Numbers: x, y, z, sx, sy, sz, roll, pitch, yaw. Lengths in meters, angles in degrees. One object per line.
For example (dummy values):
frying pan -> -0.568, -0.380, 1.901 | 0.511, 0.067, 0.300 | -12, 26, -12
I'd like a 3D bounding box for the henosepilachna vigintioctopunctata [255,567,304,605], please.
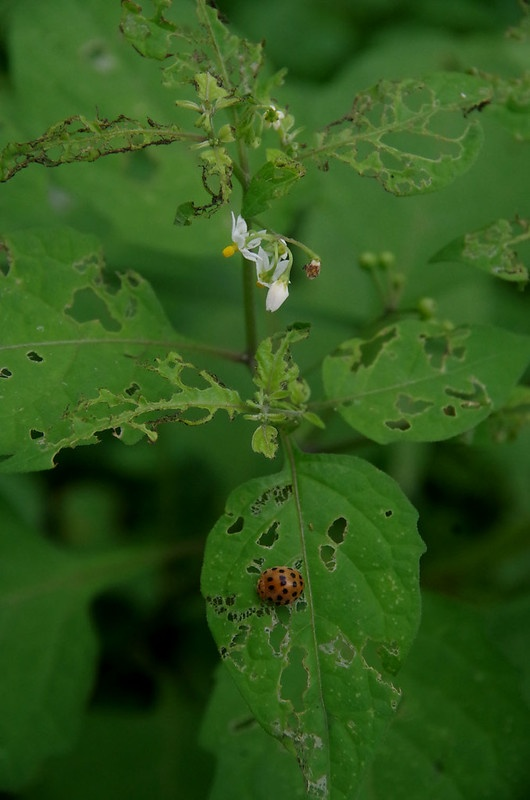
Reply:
henosepilachna vigintioctopunctata -> 0.033, 0.400, 1.549 | 0.103, 0.058, 0.071 | -8, 84, 1
